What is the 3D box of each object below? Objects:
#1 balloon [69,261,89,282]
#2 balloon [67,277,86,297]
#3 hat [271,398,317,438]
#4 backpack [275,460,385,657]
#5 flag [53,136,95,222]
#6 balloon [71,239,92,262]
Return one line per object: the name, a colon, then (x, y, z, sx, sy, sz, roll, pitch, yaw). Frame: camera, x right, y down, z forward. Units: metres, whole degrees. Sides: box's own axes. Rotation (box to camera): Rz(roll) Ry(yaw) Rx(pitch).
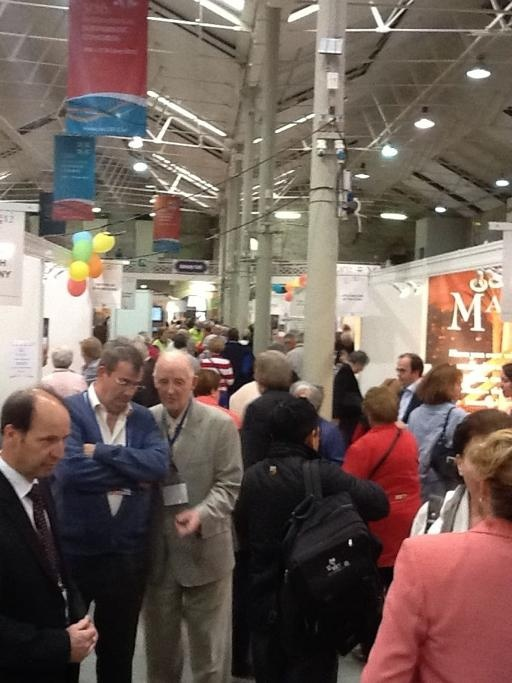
balloon: (-2.767, -1.096, 9.718, 0.252, 0.242, 0.278, 35, -19, 15)
balloon: (-2.967, -0.906, 10.266, 0.307, 0.245, 0.266, -37, -13, 37)
hat: (0.156, 0.322, 2.531, 0.189, 0.185, 0.111, 3, 0, 2)
backpack: (0.241, 0.809, 2.135, 0.306, 0.602, 0.292, 4, 0, -6)
flag: (-4.248, -3.884, 14.522, 0.965, 2.053, 1.489, 4, 0, -18)
balloon: (-2.761, -1.443, 9.897, 0.304, 0.361, 0.436, 3, 0, -16)
